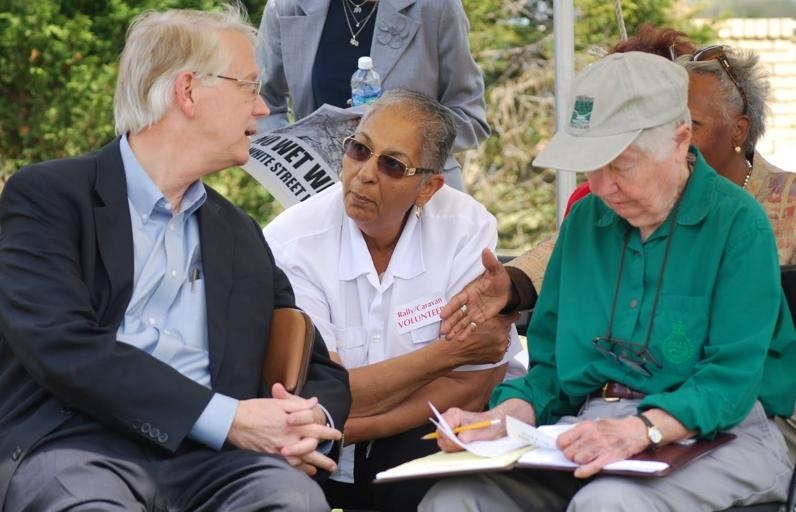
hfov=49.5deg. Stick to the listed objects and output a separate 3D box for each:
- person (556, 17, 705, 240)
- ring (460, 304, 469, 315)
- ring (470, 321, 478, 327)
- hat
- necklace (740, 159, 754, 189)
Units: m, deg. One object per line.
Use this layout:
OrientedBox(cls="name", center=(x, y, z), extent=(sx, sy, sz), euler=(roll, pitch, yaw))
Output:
OrientedBox(cls="person", center=(1.346, -0.702, 4.945), extent=(0.666, 1.228, 0.743), euler=(2, 0, -29))
OrientedBox(cls="ring", center=(0.350, 0.280, 4.567), extent=(0.035, 0.018, 0.046), euler=(-2, 47, -1))
OrientedBox(cls="ring", center=(0.396, 0.356, 4.539), extent=(0.028, 0.026, 0.028), euler=(2, -4, 0))
OrientedBox(cls="hat", center=(0.954, -0.676, 3.904), extent=(0.718, 0.376, 0.464), euler=(-27, 27, -18))
OrientedBox(cls="necklace", center=(1.878, -0.440, 4.615), extent=(0.039, 0.134, 0.102), euler=(13, -16, 3))
